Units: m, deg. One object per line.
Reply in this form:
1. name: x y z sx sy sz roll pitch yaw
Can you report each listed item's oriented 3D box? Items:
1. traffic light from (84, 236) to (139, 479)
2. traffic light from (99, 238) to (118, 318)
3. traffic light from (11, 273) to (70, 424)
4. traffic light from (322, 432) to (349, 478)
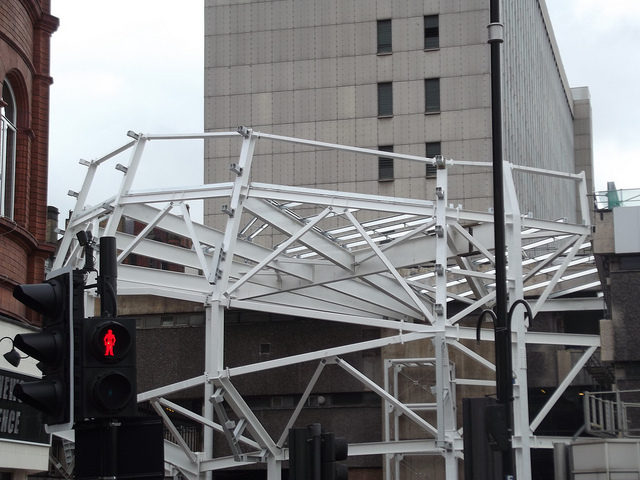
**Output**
1. traffic light: -4.661 2.407 32.822 1.126 5.020 0.916 0 -18 -5
2. traffic light: -4.781 0.902 33.180 0.376 1.844 0.398 2 -19 -10
3. traffic light: -6.067 2.392 32.500 1.161 3.181 0.808 2 -19 -11
4. traffic light: 0.323 5.092 34.767 0.768 1.064 0.401 16 -25 -41
